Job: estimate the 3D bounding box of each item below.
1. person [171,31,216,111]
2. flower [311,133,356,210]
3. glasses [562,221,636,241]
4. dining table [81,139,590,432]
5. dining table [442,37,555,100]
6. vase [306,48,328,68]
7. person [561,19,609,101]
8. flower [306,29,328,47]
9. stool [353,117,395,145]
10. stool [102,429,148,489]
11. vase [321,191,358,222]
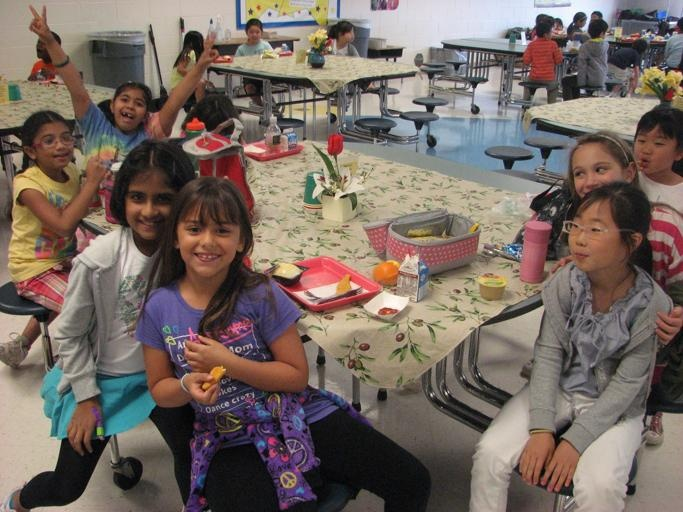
[{"bbox_3d":[-1.615,-1.955,5.480,0.453,0.858,0.306,1,33,-22],"label":"person"},{"bbox_3d":[-0.032,-0.373,2.127,0.190,0.258,0.248,2,12,19],"label":"flower"},{"bbox_3d":[0.771,-0.071,1.544,0.098,0.026,0.091,-7,20,-27],"label":"glasses"},{"bbox_3d":[-0.037,0.115,1.758,0.874,0.284,1.199,-23,32,-26],"label":"dining table"},{"bbox_3d":[2.467,-3.135,8.589,1.347,0.582,1.019,15,24,25],"label":"dining table"},{"bbox_3d":[-0.269,-2.165,5.605,0.214,0.193,0.208,-21,34,-38],"label":"vase"},{"bbox_3d":[3.606,-2.882,7.550,0.592,1.117,0.715,9,23,23],"label":"person"},{"bbox_3d":[-0.253,-2.351,5.588,0.186,0.201,0.469,-1,20,-2],"label":"flower"},{"bbox_3d":[0.328,-1.379,5.329,0.381,0.394,0.350,-1,43,2],"label":"stool"},{"bbox_3d":[-0.877,0.811,2.019,0.132,0.254,0.100,-6,19,21],"label":"stool"},{"bbox_3d":[-0.012,-0.228,2.172,0.133,0.095,0.130,11,25,25],"label":"vase"}]
